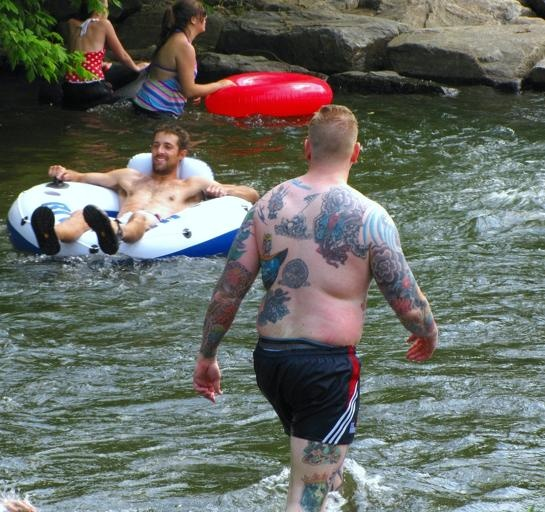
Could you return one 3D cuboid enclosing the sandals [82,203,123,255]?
[{"bbox_3d":[-1.295,-0.203,6.640,0.243,0.470,0.065,-2,37,-9],"label":"sandals"}]

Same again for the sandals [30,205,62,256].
[{"bbox_3d":[-1.733,-0.195,6.733,0.190,0.366,0.167,-9,27,-8],"label":"sandals"}]
